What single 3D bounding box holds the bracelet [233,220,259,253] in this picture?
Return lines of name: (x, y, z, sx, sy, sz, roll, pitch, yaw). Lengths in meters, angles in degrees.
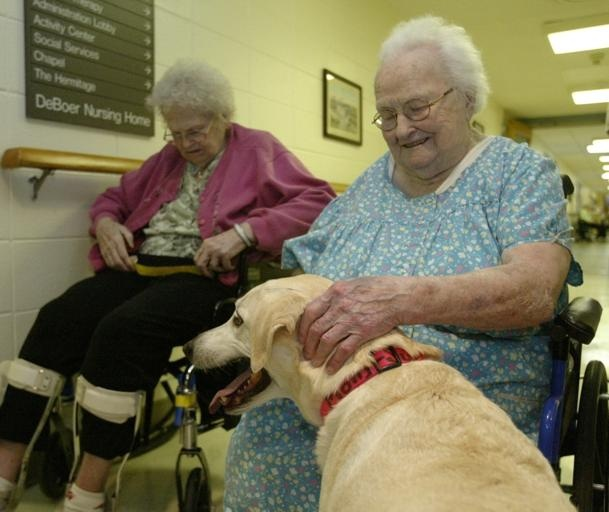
bracelet: (-0.236, -0.070, 2.085, 0.040, 0.105, 0.084, -33, 10, 3)
